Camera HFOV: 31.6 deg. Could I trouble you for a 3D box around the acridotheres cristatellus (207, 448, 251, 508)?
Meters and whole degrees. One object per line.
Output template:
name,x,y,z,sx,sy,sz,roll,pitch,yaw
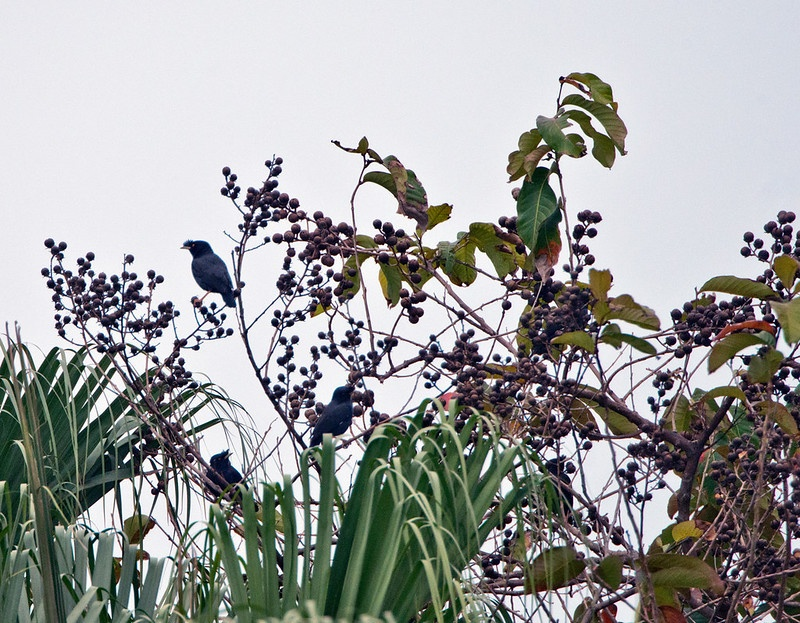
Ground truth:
acridotheres cristatellus,-0.792,0.754,6.383,0.111,0.298,0.245,-10,-2,8

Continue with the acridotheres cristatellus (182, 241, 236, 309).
acridotheres cristatellus,-1.100,-0.244,8.194,0.297,0.171,0.390,7,-61,-3
